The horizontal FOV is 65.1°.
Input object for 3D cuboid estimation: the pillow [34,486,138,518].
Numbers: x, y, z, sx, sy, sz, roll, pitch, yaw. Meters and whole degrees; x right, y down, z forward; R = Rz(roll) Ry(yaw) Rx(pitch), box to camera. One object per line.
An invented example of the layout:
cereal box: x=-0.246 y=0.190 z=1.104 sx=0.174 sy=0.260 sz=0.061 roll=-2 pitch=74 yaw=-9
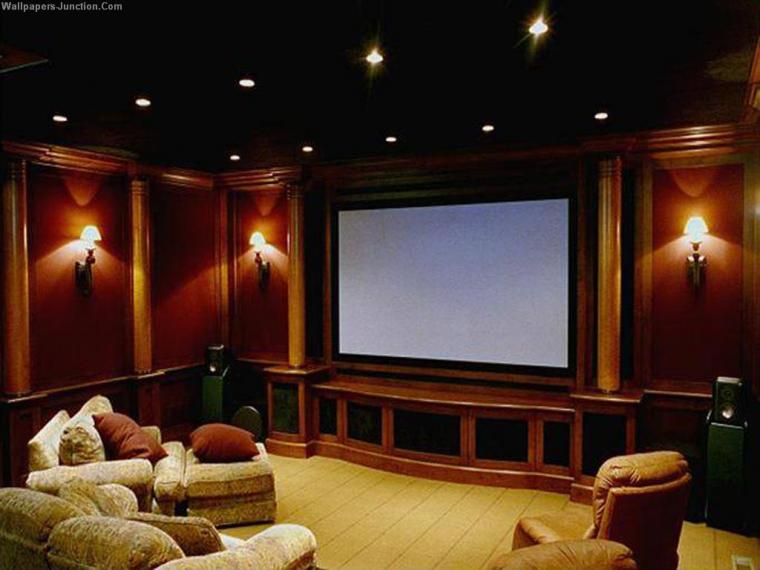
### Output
pillow: x=-1.698 y=1.265 z=3.452 sx=0.323 sy=0.129 sz=0.334 roll=-3 pitch=-15 yaw=41

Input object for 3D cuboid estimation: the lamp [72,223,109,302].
lamp: x=-2.863 y=-0.229 z=5.948 sx=0.208 sy=0.711 sz=0.352 roll=1 pitch=8 yaw=8

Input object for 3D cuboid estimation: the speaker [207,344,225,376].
speaker: x=-1.816 y=0.842 z=6.666 sx=0.254 sy=0.313 sz=0.143 roll=4 pitch=9 yaw=32

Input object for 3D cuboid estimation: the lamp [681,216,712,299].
lamp: x=2.826 y=-0.253 z=5.321 sx=0.206 sy=0.697 sz=0.135 roll=3 pitch=9 yaw=27

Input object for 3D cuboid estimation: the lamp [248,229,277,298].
lamp: x=-1.440 y=-0.270 z=7.057 sx=0.315 sy=0.709 sz=0.166 roll=4 pitch=9 yaw=29
